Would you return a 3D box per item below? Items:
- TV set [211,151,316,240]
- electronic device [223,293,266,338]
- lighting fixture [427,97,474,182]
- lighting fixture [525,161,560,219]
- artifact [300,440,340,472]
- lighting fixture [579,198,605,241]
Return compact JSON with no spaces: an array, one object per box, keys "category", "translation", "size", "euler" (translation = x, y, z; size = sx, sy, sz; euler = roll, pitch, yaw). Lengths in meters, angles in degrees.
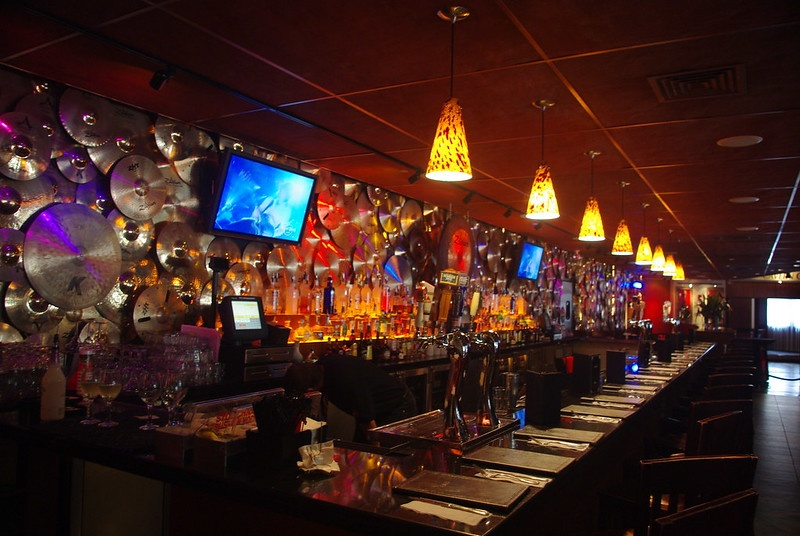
[{"category":"TV set","translation":[-1.347,-0.661,5.606],"size":[0.105,0.787,1.165],"euler":[15,3,35]},{"category":"electronic device","translation":[-1.418,0.446,5.126],"size":[0.197,0.351,0.342],"euler":[-17,-19,38]},{"category":"lighting fixture","translation":[0.319,-0.839,3.602],"size":[0.275,0.552,0.193],"euler":[1,-6,4]},{"category":"lighting fixture","translation":[1.117,-0.599,4.419],"size":[0.225,0.456,0.324],"euler":[0,-7,12]},{"category":"artifact","translation":[-0.418,0.977,2.910],"size":[0.202,0.134,0.121],"euler":[4,-7,-17]},{"category":"lighting fixture","translation":[1.801,-0.457,5.289],"size":[0.216,0.418,0.212],"euler":[3,-13,10]}]
